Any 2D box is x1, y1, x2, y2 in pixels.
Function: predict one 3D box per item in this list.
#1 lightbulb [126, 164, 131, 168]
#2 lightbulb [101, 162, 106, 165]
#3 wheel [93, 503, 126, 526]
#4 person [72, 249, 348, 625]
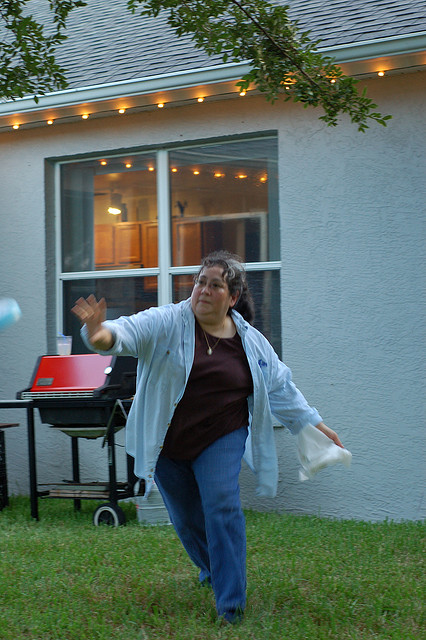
[{"bbox_3d":[-0.856,-1.546,6.054,0.037,0.017,0.035,6,21,38],"label":"lightbulb"},{"bbox_3d":[-1.129,-1.602,6.172,0.056,0.023,0.011,0,5,16],"label":"lightbulb"},{"bbox_3d":[-0.811,1.466,4.545,0.309,0.180,0.078,1,6,26],"label":"wheel"},{"bbox_3d":[-0.024,0.519,2.679,0.714,1.644,1.192,2,6,32],"label":"person"}]
